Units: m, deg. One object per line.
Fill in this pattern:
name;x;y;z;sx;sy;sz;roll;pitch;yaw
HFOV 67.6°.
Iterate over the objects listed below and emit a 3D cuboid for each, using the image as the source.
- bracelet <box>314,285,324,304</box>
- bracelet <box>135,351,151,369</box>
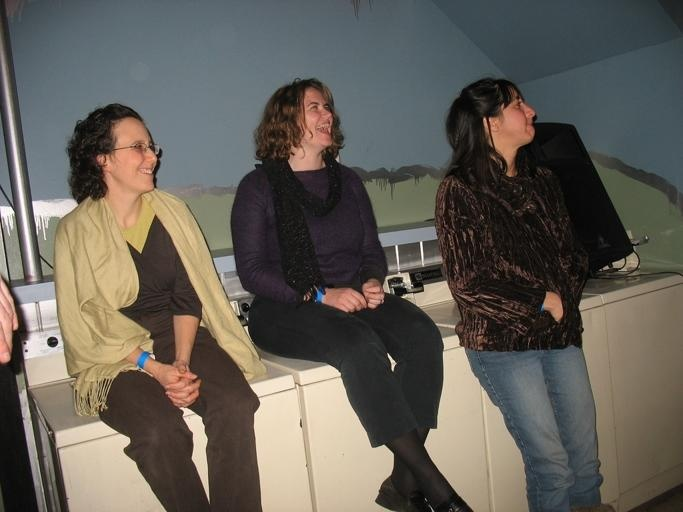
bracelet;-0.078;0.131;1.806;0.036;0.045;0.049;0;-6;-3
bracelet;-0.628;0.330;1.610;0.032;0.063;0.025;7;-19;28
